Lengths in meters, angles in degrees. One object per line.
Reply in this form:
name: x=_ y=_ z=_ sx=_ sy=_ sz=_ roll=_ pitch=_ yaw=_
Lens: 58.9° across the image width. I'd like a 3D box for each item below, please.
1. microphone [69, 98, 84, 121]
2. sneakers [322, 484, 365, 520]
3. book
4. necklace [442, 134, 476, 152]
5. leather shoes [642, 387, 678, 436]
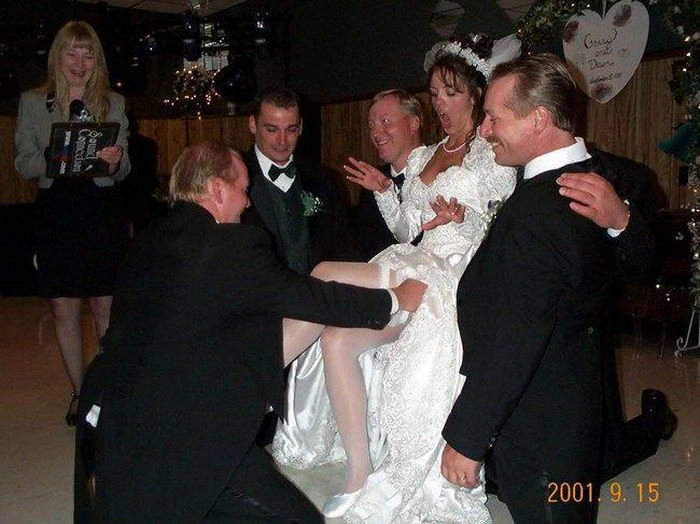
microphone: x=-1.665 y=-0.928 z=3.782 sx=0.082 sy=0.126 sz=0.054 roll=-1 pitch=7 yaw=-23
sneakers: x=-0.018 y=1.143 z=2.930 sx=0.206 sy=0.036 sz=0.099 roll=-38 pitch=21 yaw=-16
book: x=-1.582 y=-0.655 z=3.622 sx=0.388 sy=0.368 sz=0.093 roll=4 pitch=13 yaw=-25
necklace: x=0.591 y=-0.601 z=3.198 sx=0.021 sy=0.123 sz=0.101 roll=12 pitch=13 yaw=-38
leather shoes: x=1.747 y=0.846 z=3.545 sx=0.073 sy=0.308 sz=0.181 roll=39 pitch=-25 yaw=-26
